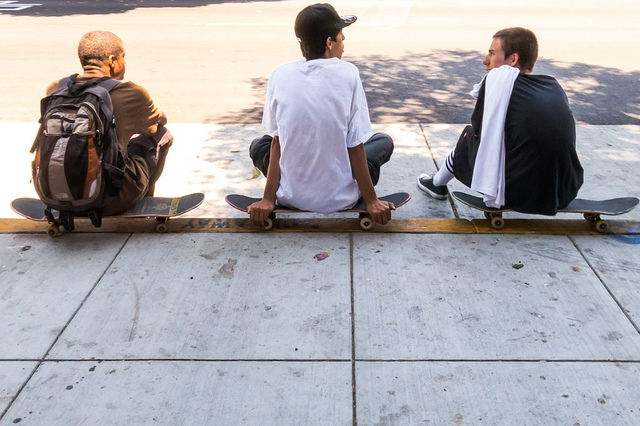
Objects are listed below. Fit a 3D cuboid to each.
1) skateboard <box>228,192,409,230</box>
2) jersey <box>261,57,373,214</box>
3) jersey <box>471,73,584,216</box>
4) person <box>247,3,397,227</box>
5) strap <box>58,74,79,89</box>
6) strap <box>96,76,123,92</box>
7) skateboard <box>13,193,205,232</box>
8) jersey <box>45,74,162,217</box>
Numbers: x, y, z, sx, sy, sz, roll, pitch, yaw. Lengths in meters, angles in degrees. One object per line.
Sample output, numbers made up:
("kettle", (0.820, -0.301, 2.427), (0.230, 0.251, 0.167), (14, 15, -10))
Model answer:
("skateboard", (0.232, -0.059, 4.573), (2.068, 0.266, 0.479), (0, 30, 1))
("jersey", (-0.022, -0.626, 4.300), (0.878, 1.258, 0.491), (-6, 31, -5))
("jersey", (1.761, -0.691, 4.834), (1.304, 1.152, 1.223), (4, 9, 27))
("person", (0.009, -0.767, 4.245), (1.132, 1.735, 0.645), (-2, 31, 2))
("strap", (-2.073, -1.082, 4.207), (0.163, 0.087, 0.259), (-6, 26, -8))
("strap", (-1.734, -1.043, 4.163), (0.148, 0.097, 0.142), (13, 31, 26))
("skateboard", (-1.931, -0.017, 4.483), (2.099, 0.268, 0.478), (0, 27, -6))
("jersey", (-1.632, -0.544, 4.372), (0.283, 1.099, 0.676), (12, 34, 24))
